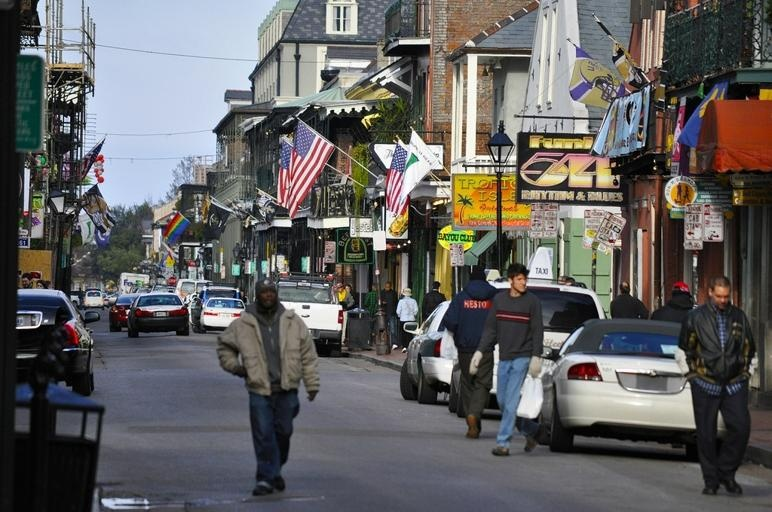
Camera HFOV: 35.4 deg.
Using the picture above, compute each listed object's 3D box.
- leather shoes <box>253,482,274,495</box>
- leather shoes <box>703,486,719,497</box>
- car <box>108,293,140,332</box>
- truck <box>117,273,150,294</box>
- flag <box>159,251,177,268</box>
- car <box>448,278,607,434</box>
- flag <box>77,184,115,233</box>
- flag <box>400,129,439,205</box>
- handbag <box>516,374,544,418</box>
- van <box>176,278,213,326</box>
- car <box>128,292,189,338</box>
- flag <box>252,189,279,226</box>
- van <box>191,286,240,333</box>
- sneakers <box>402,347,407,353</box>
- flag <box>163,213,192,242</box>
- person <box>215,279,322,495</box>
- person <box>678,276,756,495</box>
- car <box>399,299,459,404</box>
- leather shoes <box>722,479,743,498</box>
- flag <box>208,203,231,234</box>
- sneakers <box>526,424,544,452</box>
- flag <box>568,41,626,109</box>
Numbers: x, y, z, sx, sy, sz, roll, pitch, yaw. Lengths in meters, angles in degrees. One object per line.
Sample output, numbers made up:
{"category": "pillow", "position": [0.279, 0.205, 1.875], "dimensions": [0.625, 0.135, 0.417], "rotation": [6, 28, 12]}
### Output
{"category": "leather shoes", "position": [-1.360, 2.533, 13.246], "dimensions": [0.132, 0.102, 0.244], "rotation": [2, 0, -3]}
{"category": "leather shoes", "position": [3.785, 2.747, 14.194], "dimensions": [0.086, 0.070, 0.161], "rotation": [-1, -5, 0]}
{"category": "car", "position": [-12.551, 2.744, 56.862], "dimensions": [1.544, 1.367, 3.839], "rotation": [0, 2, -6]}
{"category": "truck", "position": [-27.988, 2.944, 132.938], "dimensions": [2.987, 3.308, 5.630], "rotation": [1, 2, -5]}
{"category": "flag", "position": [-24.380, 0.383, 134.480], "dimensions": [1.958, 2.291, 0.245], "rotation": [5, 0, -25]}
{"category": "car", "position": [2.719, 1.412, 21.735], "dimensions": [1.644, 1.498, 3.346], "rotation": [0, 2, -5]}
{"category": "flag", "position": [-17.134, -2.672, 70.897], "dimensions": [1.064, 2.867, 2.965], "rotation": [1, 0, 3]}
{"category": "flag", "position": [1.064, -2.978, 40.965], "dimensions": [1.241, 2.450, 1.218], "rotation": [1, 0, 8]}
{"category": "handbag", "position": [1.940, 1.920, 16.660], "dimensions": [0.565, 0.680, 0.286], "rotation": [4, -5, -33]}
{"category": "van", "position": [-11.075, 2.628, 68.585], "dimensions": [2.139, 2.346, 3.875], "rotation": [0, 4, -6]}
{"category": "car", "position": [-9.186, 2.402, 48.443], "dimensions": [1.658, 1.421, 4.160], "rotation": [-1, 2, -9]}
{"category": "flag", "position": [-7.807, -3.045, 76.804], "dimensions": [1.412, 2.204, 5.359], "rotation": [1, 0, -6]}
{"category": "van", "position": [-7.589, 2.454, 53.437], "dimensions": [1.844, 1.811, 3.331], "rotation": [1, 3, -11]}
{"category": "sneakers", "position": [0.546, 3.179, 41.079], "dimensions": [0.123, 0.151, 0.361], "rotation": [0, -7, -3]}
{"category": "flag", "position": [-16.498, -2.195, 93.779], "dimensions": [1.504, 2.364, 5.762], "rotation": [1, 0, -11]}
{"category": "person", "position": [-1.344, 1.446, 13.555], "dimensions": [1.124, 2.379, 0.720], "rotation": [1, 0, -7]}
{"category": "person", "position": [3.976, 1.540, 14.561], "dimensions": [0.948, 2.449, 0.569], "rotation": [1, 0, 2]}
{"category": "car", "position": [0.747, 2.089, 23.162], "dimensions": [0.999, 0.926, 1.939], "rotation": [1, 3, -6]}
{"category": "leather shoes", "position": [4.106, 2.744, 14.425], "dimensions": [0.237, 0.183, 0.429], "rotation": [1, 0, 17]}
{"category": "flag", "position": [-13.159, -2.922, 93.162], "dimensions": [1.803, 2.690, 1.000], "rotation": [8, -2, 33]}
{"category": "sneakers", "position": [2.046, 2.530, 16.910], "dimensions": [0.243, 0.212, 0.571], "rotation": [-9, -31, -8]}
{"category": "flag", "position": [5.563, -4.672, 32.715], "dimensions": [1.636, 1.734, 0.492], "rotation": [28, -23, -32]}
